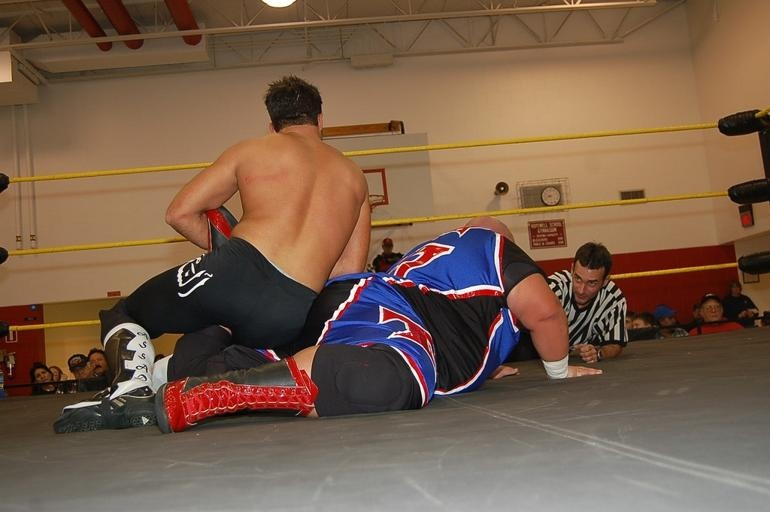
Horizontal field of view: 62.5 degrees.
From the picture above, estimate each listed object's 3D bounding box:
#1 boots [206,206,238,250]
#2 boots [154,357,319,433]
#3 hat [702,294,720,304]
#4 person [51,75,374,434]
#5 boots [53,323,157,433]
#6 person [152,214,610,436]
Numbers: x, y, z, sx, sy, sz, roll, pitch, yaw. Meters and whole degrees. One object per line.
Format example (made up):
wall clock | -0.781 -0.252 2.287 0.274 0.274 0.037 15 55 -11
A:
boots | -0.823 -0.168 3.221 0.137 0.235 0.091 17 -12 4
boots | -0.638 0.583 2.685 0.530 0.205 0.327 -7 30 -19
hat | 3.414 0.441 6.648 0.223 0.111 0.314 5 -3 23
person | -0.817 -0.003 3.250 1.461 1.882 1.070 1 12 -39
boots | -1.283 0.582 2.993 0.508 0.475 0.234 -9 -11 10
person | -0.077 0.227 3.033 1.893 0.668 0.837 -5 1 -25
